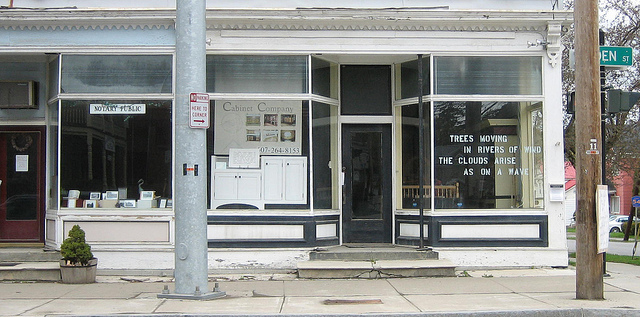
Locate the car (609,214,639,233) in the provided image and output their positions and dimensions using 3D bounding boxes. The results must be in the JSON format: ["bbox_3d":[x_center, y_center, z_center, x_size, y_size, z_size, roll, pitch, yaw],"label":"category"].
[{"bbox_3d":[18.910,4.083,51.558,1.031,0.995,3.414,-3,-1,20],"label":"car"}]

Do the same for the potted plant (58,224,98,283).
[{"bbox_3d":[-8.070,3.139,27.062,1.161,1.897,0.469,-2,-1,-17],"label":"potted plant"}]

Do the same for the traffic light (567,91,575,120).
[{"bbox_3d":[8.390,-1.919,27.270,0.221,0.789,0.971,-3,-1,16],"label":"traffic light"}]

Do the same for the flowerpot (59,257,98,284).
[{"bbox_3d":[-8.010,3.636,26.710,1.045,0.556,0.949,1,-8,-5],"label":"flowerpot"}]
